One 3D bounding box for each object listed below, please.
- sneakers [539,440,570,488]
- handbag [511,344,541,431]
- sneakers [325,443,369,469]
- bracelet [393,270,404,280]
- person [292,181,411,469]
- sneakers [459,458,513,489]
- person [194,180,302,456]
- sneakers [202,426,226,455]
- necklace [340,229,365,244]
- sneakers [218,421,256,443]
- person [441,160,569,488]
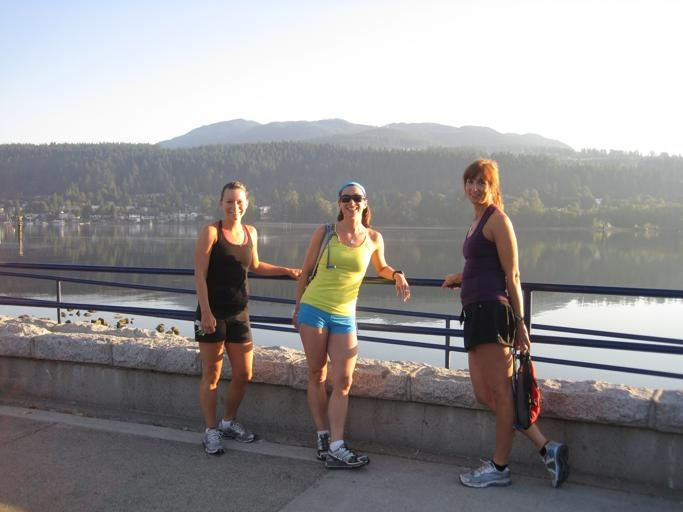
[{"bbox_3d":[1.560,1.496,4.348,0.179,0.407,0.140,0,26,25],"label":"sneakers"},{"bbox_3d":[1.369,1.003,4.412,0.192,0.616,0.224,3,14,18],"label":"handbag"},{"bbox_3d":[0.036,1.588,4.760,0.355,0.203,0.158,1,0,-2],"label":"sneakers"},{"bbox_3d":[0.487,0.163,5.042,0.065,0.075,0.095,-1,5,-10],"label":"bracelet"},{"bbox_3d":[0.005,0.534,4.914,0.775,2.204,0.976,8,17,35],"label":"person"},{"bbox_3d":[1.084,1.640,4.516,0.375,0.207,0.167,1,2,-3],"label":"sneakers"},{"bbox_3d":[-0.979,0.480,5.152,0.537,2.170,1.065,4,15,22],"label":"person"},{"bbox_3d":[-1.056,1.536,4.953,0.107,0.140,0.272,0,-2,-25],"label":"sneakers"},{"bbox_3d":[0.096,-0.139,4.828,0.135,0.124,0.038,-7,-12,-10],"label":"necklace"},{"bbox_3d":[-0.917,1.518,5.234,0.338,0.178,0.147,12,21,3],"label":"sneakers"},{"bbox_3d":[1.299,0.490,4.538,0.802,2.369,0.916,0,14,8],"label":"person"}]
